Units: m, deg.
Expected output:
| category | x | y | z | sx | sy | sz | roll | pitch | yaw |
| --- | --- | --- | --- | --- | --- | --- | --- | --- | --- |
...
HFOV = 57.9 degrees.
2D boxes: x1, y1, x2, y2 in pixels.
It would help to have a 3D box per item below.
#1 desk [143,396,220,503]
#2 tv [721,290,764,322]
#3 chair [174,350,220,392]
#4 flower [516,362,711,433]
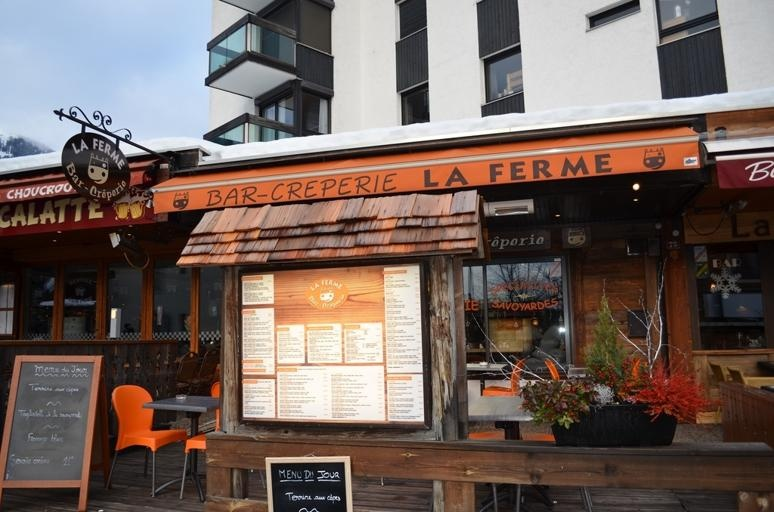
| category | x | y | z | sx | sy | sz | roll | pitch | yaw |
| --- | --- | --- | --- | --- | --- | --- | --- | --- | --- |
| desk | -2.791 | 2.744 | 10.399 | 0.695 | 1.614 | 0.741 | 5 | -12 | -13 |
| tv | 6.442 | 0.939 | 12.696 | 0.577 | 0.417 | 0.078 | 0 | -7 | 7 |
| chair | -3.796 | 2.356 | 14.009 | 0.845 | 1.247 | 0.716 | -5 | -6 | 36 |
| flower | 2.452 | 1.519 | 7.683 | 1.936 | 0.678 | 0.290 | -4 | -8 | 5 |
